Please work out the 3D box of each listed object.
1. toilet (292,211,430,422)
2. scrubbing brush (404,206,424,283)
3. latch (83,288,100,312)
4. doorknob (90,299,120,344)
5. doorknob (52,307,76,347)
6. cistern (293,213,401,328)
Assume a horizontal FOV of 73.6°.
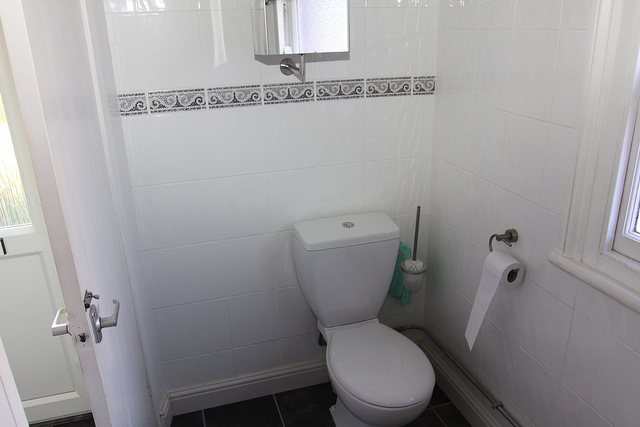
[{"bbox_3d":[0.198,0.543,2.301,0.575,1.115,1.036,-10,29,-9],"label":"toilet"},{"bbox_3d":[0.535,0.184,2.426,0.102,0.443,0.109,0,26,-9],"label":"scrubbing brush"},{"bbox_3d":[-0.773,0.300,1.472,0.043,0.057,0.056,4,28,-9],"label":"latch"},{"bbox_3d":[-0.791,0.396,1.571,0.063,0.109,0.196,-4,17,-10],"label":"doorknob"},{"bbox_3d":[-0.851,0.377,1.423,0.029,0.113,0.110,-13,-18,41],"label":"doorknob"},{"bbox_3d":[0.148,0.351,2.437,0.570,0.573,0.320,-7,21,-15],"label":"cistern"}]
